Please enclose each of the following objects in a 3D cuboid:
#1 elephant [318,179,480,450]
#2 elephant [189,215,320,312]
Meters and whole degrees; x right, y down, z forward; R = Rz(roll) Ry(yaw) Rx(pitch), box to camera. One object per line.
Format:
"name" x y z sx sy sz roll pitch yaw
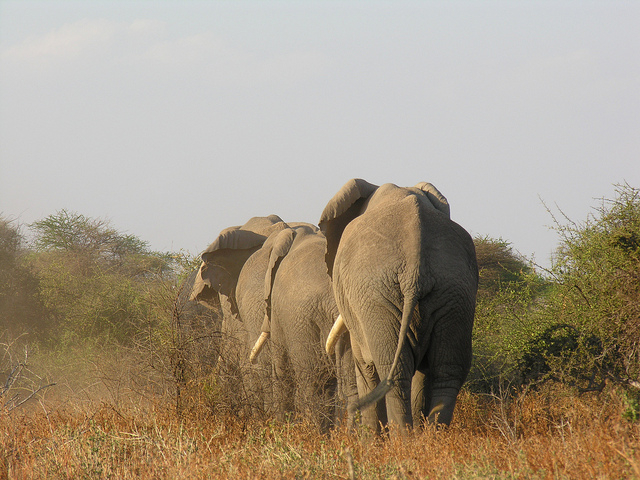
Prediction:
"elephant" 1.159 0.830 14.469 2.066 4.094 1.653 -8 -34 13
"elephant" -1.244 0.422 18.641 2.707 1.989 1.452 -1 1 26
